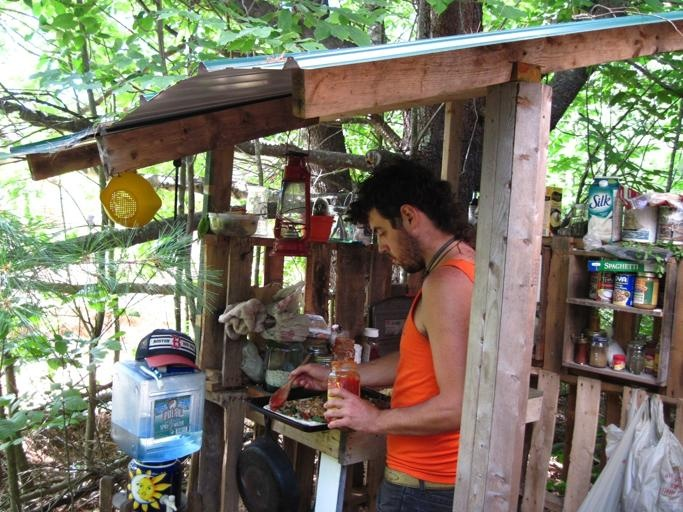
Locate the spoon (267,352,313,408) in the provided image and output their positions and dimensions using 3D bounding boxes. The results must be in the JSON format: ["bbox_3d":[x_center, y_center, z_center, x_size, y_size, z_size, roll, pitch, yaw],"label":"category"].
[{"bbox_3d":[-0.298,0.711,3.365,0.182,0.285,0.188,-2,7,-44],"label":"spoon"}]

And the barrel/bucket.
[{"bbox_3d":[-1.076,0.837,3.480,0.476,0.600,0.478,5,8,-1],"label":"barrel/bucket"}]

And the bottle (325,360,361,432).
[{"bbox_3d":[0.016,0.691,2.952,0.145,0.323,0.158,0,-2,0],"label":"bottle"}]

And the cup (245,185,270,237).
[{"bbox_3d":[-0.569,-0.318,4.021,0.157,0.122,0.335,-3,36,-8],"label":"cup"}]

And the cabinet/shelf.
[{"bbox_3d":[2.137,0.478,4.477,0.786,1.006,0.609,6,10,36],"label":"cabinet/shelf"}]

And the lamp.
[{"bbox_3d":[-0.280,-0.308,3.493,0.220,0.629,0.221,-1,11,-29],"label":"lamp"}]

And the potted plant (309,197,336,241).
[{"bbox_3d":[-0.139,-0.244,3.976,0.186,0.244,0.168,5,7,22],"label":"potted plant"}]

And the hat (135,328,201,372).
[{"bbox_3d":[-0.993,0.523,3.413,0.300,0.195,0.407,6,-2,-33],"label":"hat"}]
